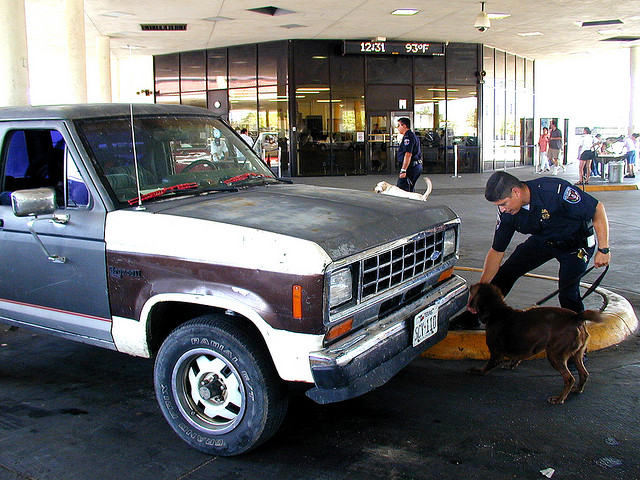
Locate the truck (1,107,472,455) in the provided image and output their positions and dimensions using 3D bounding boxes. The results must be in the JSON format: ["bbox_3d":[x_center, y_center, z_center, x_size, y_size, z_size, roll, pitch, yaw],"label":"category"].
[{"bbox_3d":[-1.254,0.057,4.420,4.451,1.447,2.443,4,10,28],"label":"truck"}]

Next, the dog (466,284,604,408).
[{"bbox_3d":[1.849,0.880,4.425,0.512,0.727,1.328,1,1,-32],"label":"dog"}]
